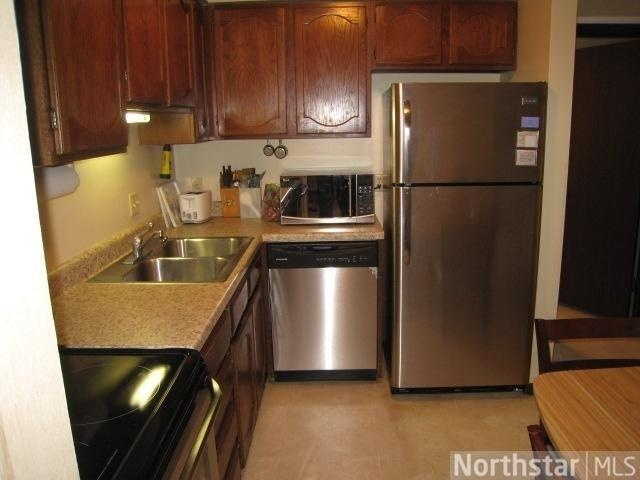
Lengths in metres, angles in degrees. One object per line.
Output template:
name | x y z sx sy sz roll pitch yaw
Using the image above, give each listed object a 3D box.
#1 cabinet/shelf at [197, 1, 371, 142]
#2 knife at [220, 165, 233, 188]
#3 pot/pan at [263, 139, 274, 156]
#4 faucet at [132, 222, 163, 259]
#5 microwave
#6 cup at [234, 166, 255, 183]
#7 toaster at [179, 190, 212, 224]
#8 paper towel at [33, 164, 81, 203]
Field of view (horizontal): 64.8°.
cabinet/shelf | -0.203 -1.034 2.964 0.777 0.633 0.287 -1 18 0
knife | -0.606 -0.415 3.293 0.092 0.130 0.057 -3 15 -5
pot/pan | -0.343 -0.619 3.337 0.063 0.102 0.038 -4 31 2
faucet | -0.890 -0.007 2.532 0.095 0.135 0.331 8 20 1
microwave | 0.069 -0.246 3.119 0.448 0.253 0.343 -1 14 0
cup | -0.496 -0.437 3.362 0.139 0.084 0.178 -3 15 -7
toaster | -0.795 -0.218 3.232 0.175 0.196 0.252 -1 10 2
paper towel | -0.720 -0.152 1.412 0.093 0.093 0.131 -5 26 -7
